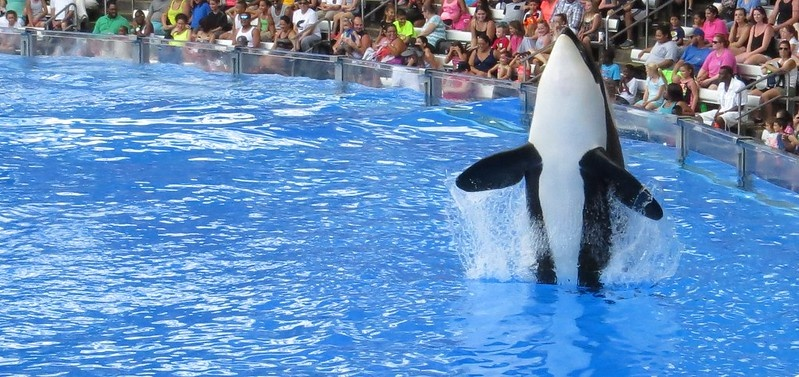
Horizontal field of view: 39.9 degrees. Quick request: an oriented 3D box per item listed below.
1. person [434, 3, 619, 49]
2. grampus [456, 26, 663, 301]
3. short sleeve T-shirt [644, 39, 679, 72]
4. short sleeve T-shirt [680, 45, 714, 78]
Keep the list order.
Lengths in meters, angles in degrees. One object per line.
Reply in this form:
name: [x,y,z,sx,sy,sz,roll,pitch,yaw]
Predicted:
person: [2.792,-3.453,23.661,3.012,0.706,0.966,2,5,36]
grampus: [2.436,-0.352,16.148,2.309,3.876,0.519,6,13,4]
short sleeve T-shirt: [5.362,-2.747,22.796,0.606,0.803,0.921,-11,23,-1]
short sleeve T-shirt: [5.904,-2.522,22.075,0.420,0.554,0.704,6,22,-45]
